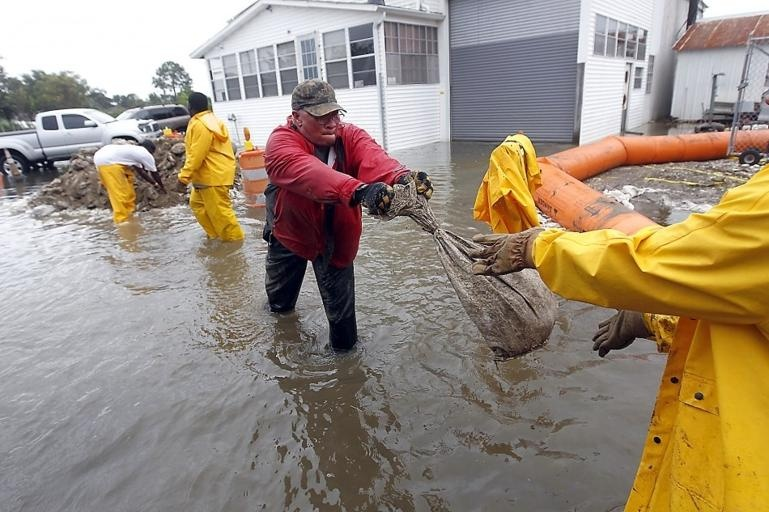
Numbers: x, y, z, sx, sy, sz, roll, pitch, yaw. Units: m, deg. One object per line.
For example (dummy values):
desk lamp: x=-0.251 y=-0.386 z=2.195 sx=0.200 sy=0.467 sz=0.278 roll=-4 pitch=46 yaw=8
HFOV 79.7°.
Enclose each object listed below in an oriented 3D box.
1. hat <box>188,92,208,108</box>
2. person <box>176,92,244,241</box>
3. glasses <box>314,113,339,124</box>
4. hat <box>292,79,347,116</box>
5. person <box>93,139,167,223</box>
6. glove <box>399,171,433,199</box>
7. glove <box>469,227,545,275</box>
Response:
hat: x=-2.883 y=-2.430 z=7.161 sx=0.320 sy=0.229 sz=0.293 roll=-18 pitch=24 yaw=-33
person: x=-2.809 y=-1.388 z=7.291 sx=0.900 sy=2.329 sz=0.760 roll=-11 pitch=23 yaw=-13
glasses: x=-0.463 y=-1.140 z=3.825 sx=0.129 sy=0.036 sz=0.128 roll=-16 pitch=29 yaw=-35
hat: x=-0.544 y=-1.317 z=3.813 sx=0.458 sy=0.220 sz=0.299 roll=8 pitch=27 yaw=22
person: x=-4.983 y=-1.450 z=9.023 sx=0.953 sy=1.434 sz=0.469 roll=-16 pitch=24 yaw=-25
glove: x=0.283 y=-0.594 z=3.706 sx=0.215 sy=0.112 sz=0.272 roll=33 pitch=0 yaw=-40
glove: x=0.838 y=-0.024 z=3.114 sx=0.157 sy=0.198 sz=0.514 roll=22 pitch=-11 yaw=-23
